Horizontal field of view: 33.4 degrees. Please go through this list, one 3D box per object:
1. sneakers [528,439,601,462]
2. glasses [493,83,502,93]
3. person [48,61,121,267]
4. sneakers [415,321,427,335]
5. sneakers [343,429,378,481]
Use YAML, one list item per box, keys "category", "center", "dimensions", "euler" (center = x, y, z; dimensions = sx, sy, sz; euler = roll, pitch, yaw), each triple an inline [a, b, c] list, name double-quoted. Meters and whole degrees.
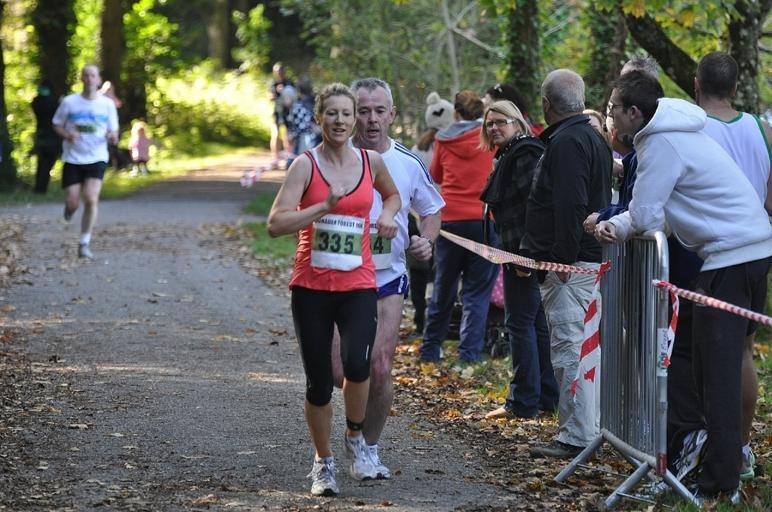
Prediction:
- category: "sneakers"
  center: [1.701, 1.910, 12.797]
  dimensions: [0.557, 0.203, 0.187]
  euler: [3, -5, 4]
- category: "glasses"
  center: [1.250, -1.841, 14.222]
  dimensions: [0.083, 0.099, 0.040]
  euler: [5, 11, 37]
- category: "person"
  center: [-4.361, -1.345, 18.606]
  dimensions: [0.835, 2.744, 0.902]
  euler: [3, 16, -3]
- category: "sneakers"
  center: [0.444, 0.921, 16.661]
  dimensions: [0.153, 0.223, 0.183]
  euler: [2, -1, 6]
- category: "sneakers"
  center: [-0.248, 1.893, 12.136]
  dimensions: [0.237, 0.491, 0.222]
  euler: [-15, -27, -15]
